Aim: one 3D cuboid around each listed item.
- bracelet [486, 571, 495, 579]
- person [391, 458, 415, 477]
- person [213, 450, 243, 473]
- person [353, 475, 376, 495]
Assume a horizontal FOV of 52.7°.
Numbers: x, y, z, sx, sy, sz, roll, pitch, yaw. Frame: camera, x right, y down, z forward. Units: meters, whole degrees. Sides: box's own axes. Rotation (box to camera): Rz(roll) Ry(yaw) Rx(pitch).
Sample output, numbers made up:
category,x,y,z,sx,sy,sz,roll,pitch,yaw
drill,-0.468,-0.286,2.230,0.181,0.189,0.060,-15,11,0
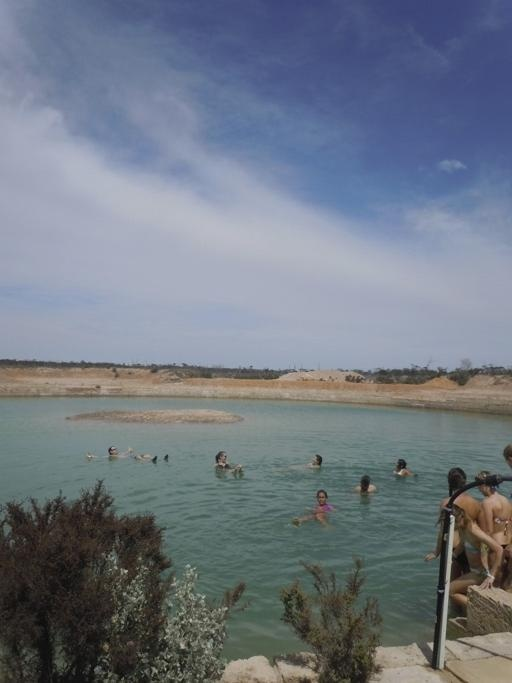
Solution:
category,x,y,z,sx,sy,sz,roll,pitch,yaw
bracelet,3.758,3.827,8.379,0.098,0.103,0.243,0,-2,24
person,5.875,5.158,20.690,0.800,0.825,0.826,-1,2,-4
person,-1.231,5.082,21.508,1.274,0.769,0.674,-6,3,1
person,3.616,4.842,17.371,0.678,0.520,1.042,1,-2,14
